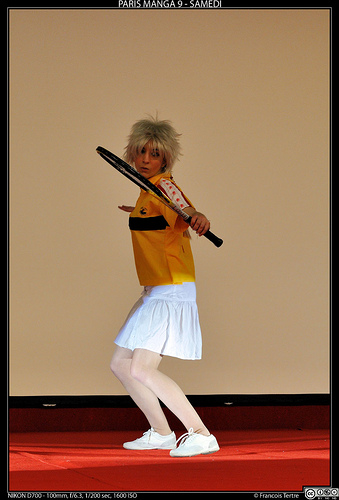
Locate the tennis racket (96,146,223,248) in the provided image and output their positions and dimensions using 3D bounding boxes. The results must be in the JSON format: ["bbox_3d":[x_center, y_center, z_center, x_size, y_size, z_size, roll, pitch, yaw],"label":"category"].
[{"bbox_3d":[-0.062,-0.211,2.748,0.701,0.135,0.050,38,-29,12],"label":"tennis racket"}]
